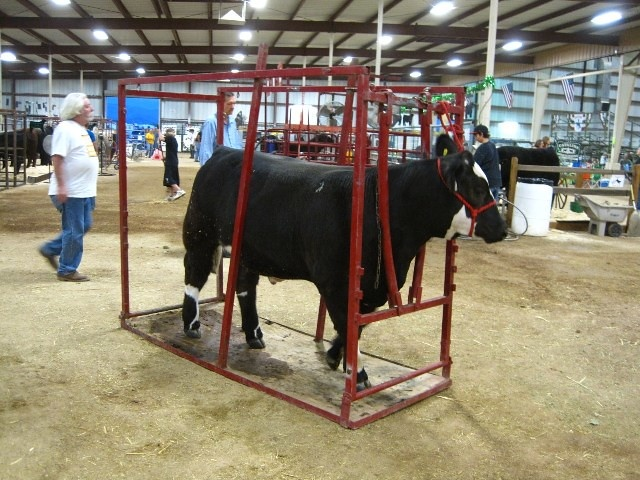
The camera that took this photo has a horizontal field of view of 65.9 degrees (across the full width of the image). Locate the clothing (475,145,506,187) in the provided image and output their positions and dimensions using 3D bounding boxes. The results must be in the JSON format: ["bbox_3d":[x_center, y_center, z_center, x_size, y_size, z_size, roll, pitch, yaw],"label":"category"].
[{"bbox_3d":[3.378,-1.512,10.069,0.616,0.865,0.742,6,6,41],"label":"clothing"}]

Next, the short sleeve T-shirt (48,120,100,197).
[{"bbox_3d":[-2.708,-0.907,5.424,0.511,0.793,0.702,5,11,-7],"label":"short sleeve T-shirt"}]

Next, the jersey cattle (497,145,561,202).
[{"bbox_3d":[5.715,-2.049,13.895,0.420,1.278,1.697,24,41,22],"label":"jersey cattle"}]

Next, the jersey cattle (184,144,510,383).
[{"bbox_3d":[-0.007,0.229,3.879,2.777,1.789,0.891,9,8,34],"label":"jersey cattle"}]
